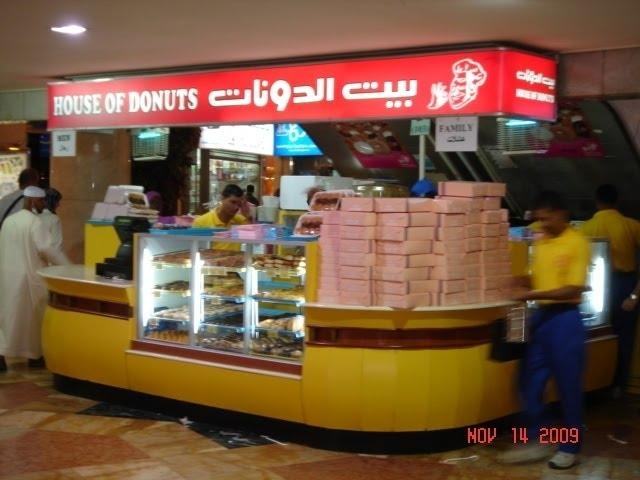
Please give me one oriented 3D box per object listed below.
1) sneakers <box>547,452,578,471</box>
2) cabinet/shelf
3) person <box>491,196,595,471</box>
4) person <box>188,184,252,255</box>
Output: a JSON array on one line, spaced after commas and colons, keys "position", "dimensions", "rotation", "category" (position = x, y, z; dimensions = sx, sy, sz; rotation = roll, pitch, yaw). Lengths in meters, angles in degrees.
[{"position": [1.750, 1.589, 3.841], "dimensions": [0.269, 0.083, 0.099], "rotation": [3, -7, -36], "category": "sneakers"}, {"position": [-0.814, 0.421, 4.829], "dimensions": [1.797, 1.135, 0.597], "rotation": [2, 3, 29], "category": "cabinet/shelf"}, {"position": [1.657, 0.654, 3.806], "dimensions": [0.452, 1.992, 0.378], "rotation": [2, 3, 23], "category": "person"}, {"position": [-0.995, -0.108, 5.699], "dimensions": [0.816, 0.829, 0.536], "rotation": [-6, -3, -9], "category": "person"}]
